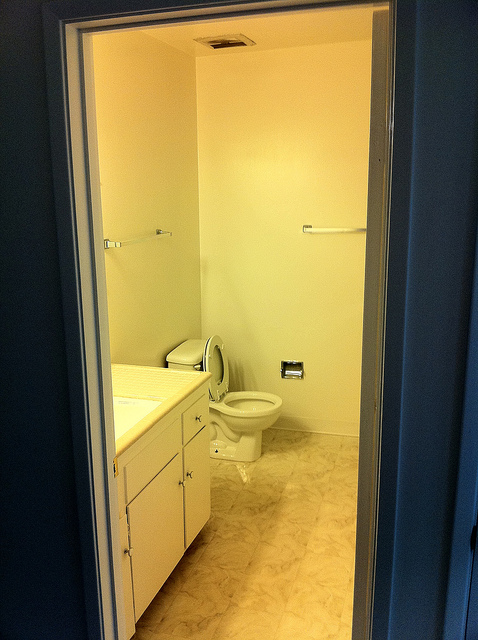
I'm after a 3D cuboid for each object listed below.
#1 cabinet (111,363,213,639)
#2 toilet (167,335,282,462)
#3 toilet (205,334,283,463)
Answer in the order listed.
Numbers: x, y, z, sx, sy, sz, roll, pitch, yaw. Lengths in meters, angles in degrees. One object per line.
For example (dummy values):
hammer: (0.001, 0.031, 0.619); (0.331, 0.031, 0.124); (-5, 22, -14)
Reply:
cabinet: (-0.301, 0.717, 1.979); (0.375, 0.693, 0.776); (1, 11, 11)
toilet: (-0.050, 0.524, 3.424); (0.622, 0.894, 0.440); (1, 12, 18)
toilet: (-0.018, 0.512, 3.417); (0.529, 0.860, 0.410); (3, 9, 23)
